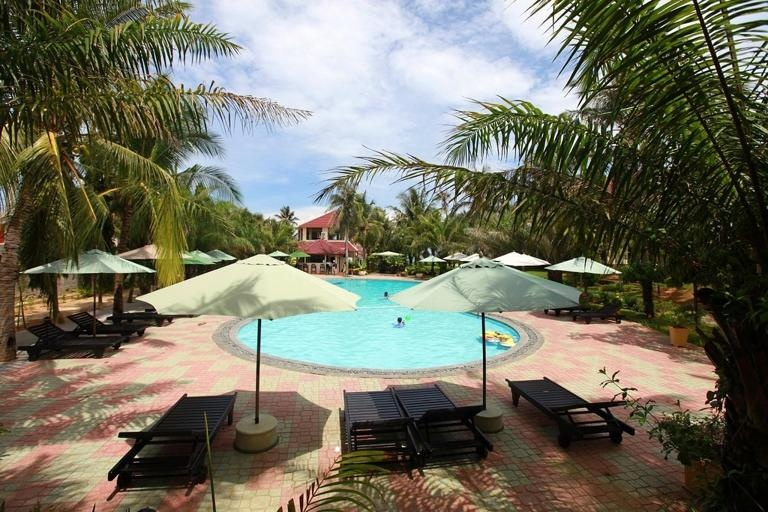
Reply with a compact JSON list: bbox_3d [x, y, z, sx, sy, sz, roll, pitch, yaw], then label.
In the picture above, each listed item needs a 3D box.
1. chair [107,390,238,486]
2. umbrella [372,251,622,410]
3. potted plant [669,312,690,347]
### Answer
[{"bbox_3d":[-3.692,3.257,7.337,1.525,0.886,1.745,-1,3,2],"label":"chair"},{"bbox_3d":[1.898,1.035,8.805,4.108,2.267,3.245,-1,-2,-7],"label":"umbrella"},{"bbox_3d":[9.545,2.307,13.376,0.483,1.174,1.023,0,4,35],"label":"potted plant"}]
